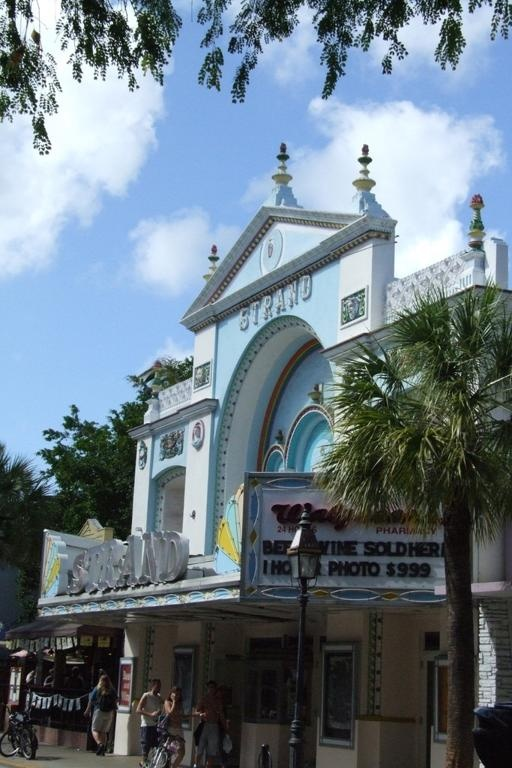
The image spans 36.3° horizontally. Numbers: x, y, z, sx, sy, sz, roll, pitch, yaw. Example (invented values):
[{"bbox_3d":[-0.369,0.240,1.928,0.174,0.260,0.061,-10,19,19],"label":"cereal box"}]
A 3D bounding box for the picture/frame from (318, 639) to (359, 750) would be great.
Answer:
[{"bbox_3d":[1.493,5.667,14.186,0.183,1.709,1.064,10,-20,-23],"label":"picture/frame"}]

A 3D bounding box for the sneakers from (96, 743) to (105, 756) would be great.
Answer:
[{"bbox_3d":[-3.884,9.230,19.649,0.189,0.287,0.531,5,-20,-9],"label":"sneakers"}]
